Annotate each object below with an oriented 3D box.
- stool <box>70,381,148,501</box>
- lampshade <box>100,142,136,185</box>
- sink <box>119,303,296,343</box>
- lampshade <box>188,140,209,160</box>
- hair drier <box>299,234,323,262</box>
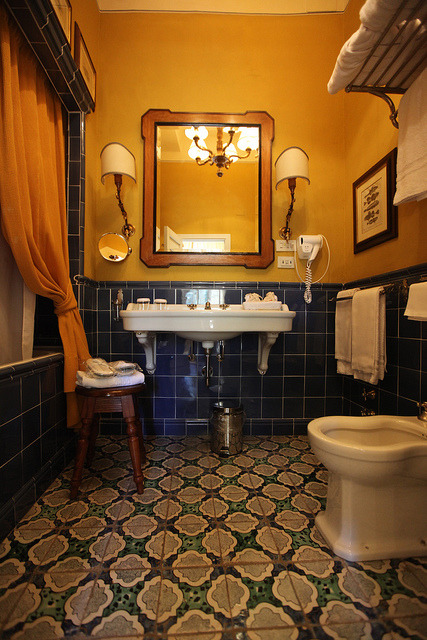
[{"bbox_3d":[-0.375,0.503,2.092,0.368,0.578,0.404,1,-1,-23],"label":"stool"},{"bbox_3d":[-0.528,-0.856,2.511,0.220,0.274,0.230,0,-7,-13],"label":"lampshade"},{"bbox_3d":[-0.032,0.037,2.301,0.813,0.224,0.359,0,10,-4],"label":"sink"},{"bbox_3d":[-0.081,-0.940,2.633,0.100,0.116,0.107,-2,-6,24],"label":"lampshade"},{"bbox_3d":[0.539,-0.408,2.578,0.131,0.196,0.071,2,-9,-9],"label":"hair drier"}]
